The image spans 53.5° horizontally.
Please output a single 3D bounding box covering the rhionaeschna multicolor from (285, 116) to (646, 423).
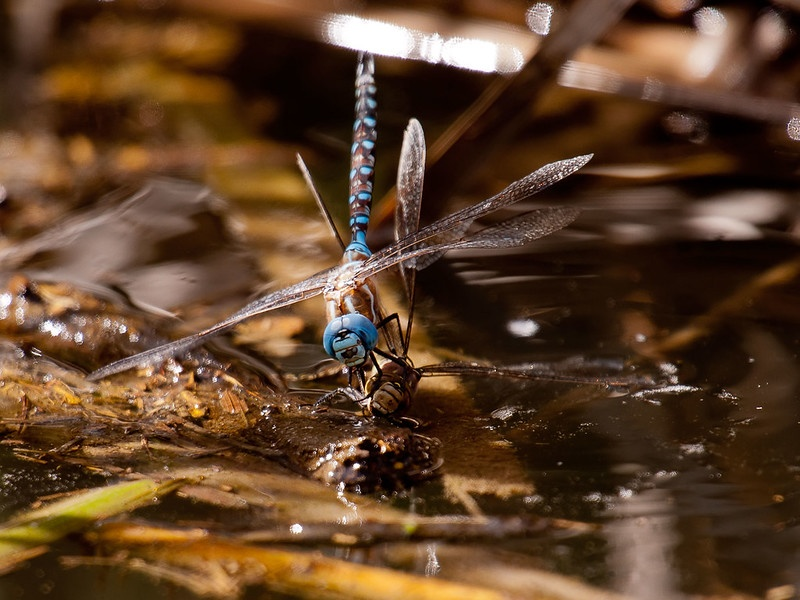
[{"bbox_3d":[-0.033,-0.041,0.921,0.486,0.161,0.336,-9,42,8],"label":"rhionaeschna multicolor"}]
